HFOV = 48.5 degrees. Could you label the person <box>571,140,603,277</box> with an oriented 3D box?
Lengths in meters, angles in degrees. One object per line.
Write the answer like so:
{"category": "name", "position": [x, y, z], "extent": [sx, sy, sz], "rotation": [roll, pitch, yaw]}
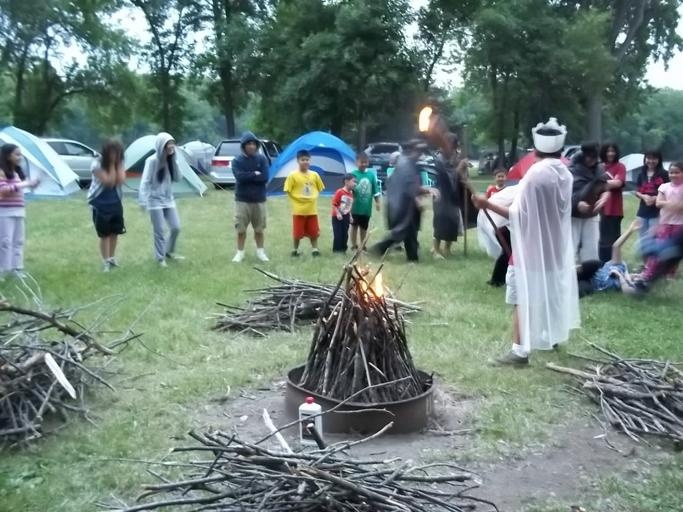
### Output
{"category": "person", "position": [3.154, -0.579, 9.938], "extent": [0.466, 1.777, 0.831], "rotation": [5, 7, 30]}

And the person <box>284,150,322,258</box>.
{"category": "person", "position": [-0.603, -0.858, 12.059], "extent": [0.554, 1.638, 1.010], "rotation": [1, 6, -2]}

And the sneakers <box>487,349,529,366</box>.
{"category": "sneakers", "position": [1.696, 1.042, 7.750], "extent": [0.386, 0.166, 0.161], "rotation": [1, -7, 8]}

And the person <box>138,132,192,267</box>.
{"category": "person", "position": [-2.599, -0.826, 10.951], "extent": [0.462, 1.883, 0.695], "rotation": [3, 6, 14]}

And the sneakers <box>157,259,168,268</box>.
{"category": "sneakers", "position": [-2.533, 0.108, 10.837], "extent": [0.072, 0.090, 0.212], "rotation": [-4, -1, -24]}

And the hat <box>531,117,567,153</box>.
{"category": "hat", "position": [2.098, -1.266, 7.691], "extent": [0.269, 0.285, 0.378], "rotation": [11, 36, 17]}

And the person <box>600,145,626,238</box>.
{"category": "person", "position": [3.936, -0.949, 11.129], "extent": [0.362, 1.407, 0.883], "rotation": [3, 7, 19]}

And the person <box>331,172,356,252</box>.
{"category": "person", "position": [0.019, -0.668, 11.975], "extent": [0.313, 1.248, 0.494], "rotation": [1, 6, 1]}

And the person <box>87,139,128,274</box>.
{"category": "person", "position": [-3.201, -0.695, 10.356], "extent": [0.472, 1.762, 0.414], "rotation": [-1, 6, -19]}

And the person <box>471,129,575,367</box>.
{"category": "person", "position": [1.987, -0.145, 7.661], "extent": [0.913, 2.487, 0.529], "rotation": [-2, 7, -29]}

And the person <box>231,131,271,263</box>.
{"category": "person", "position": [-1.364, -0.878, 11.398], "extent": [0.553, 1.902, 0.551], "rotation": [0, 6, -9]}

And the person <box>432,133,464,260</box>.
{"category": "person", "position": [1.618, -0.903, 11.673], "extent": [0.431, 1.897, 1.159], "rotation": [2, 6, 8]}

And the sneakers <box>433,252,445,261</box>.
{"category": "sneakers", "position": [1.507, 0.013, 11.872], "extent": [0.093, 0.161, 0.156], "rotation": [-2, 16, 26]}
